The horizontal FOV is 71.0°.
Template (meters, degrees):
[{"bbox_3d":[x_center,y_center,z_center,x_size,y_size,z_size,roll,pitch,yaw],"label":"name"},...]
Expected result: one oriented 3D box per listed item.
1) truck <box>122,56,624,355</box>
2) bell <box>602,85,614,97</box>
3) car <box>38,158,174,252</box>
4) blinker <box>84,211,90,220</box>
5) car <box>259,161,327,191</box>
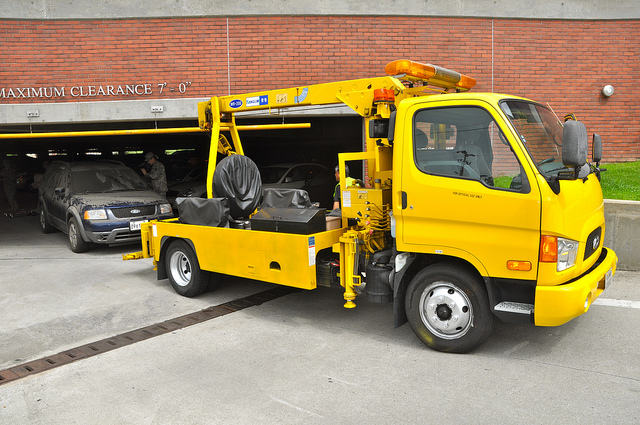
[{"bbox_3d":[0.408,-0.303,8.979,9.129,3.957,3.710,3,10,36],"label":"truck"},{"bbox_3d":[8.808,-3.715,13.738,0.340,0.357,0.191,-1,14,2],"label":"bell"},{"bbox_3d":[-6.544,-0.368,13.277,2.364,1.913,4.772,-4,9,-44],"label":"car"},{"bbox_3d":[-5.975,0.072,11.492,0.167,0.205,0.063,6,17,30],"label":"blinker"},{"bbox_3d":[-1.083,-1.241,15.627,1.046,0.729,2.300,3,4,44],"label":"car"}]
